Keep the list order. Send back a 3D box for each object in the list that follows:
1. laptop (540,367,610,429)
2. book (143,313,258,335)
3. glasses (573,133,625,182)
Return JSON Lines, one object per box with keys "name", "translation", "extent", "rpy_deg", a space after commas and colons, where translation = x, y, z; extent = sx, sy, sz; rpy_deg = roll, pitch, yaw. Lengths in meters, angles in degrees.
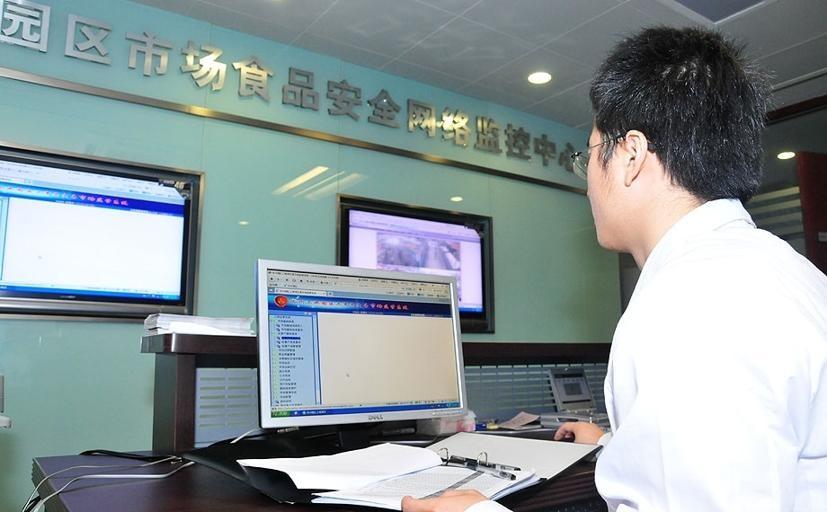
{"name": "laptop", "translation": [0.805, 0.688, 2.711], "extent": [0.292, 0.255, 0.239], "rpy_deg": [8, -9, -41]}
{"name": "book", "translation": [-0.713, 0.230, 1.847], "extent": [0.338, 0.075, 0.209], "rpy_deg": [1, -3, -21]}
{"name": "glasses", "translation": [0.472, -0.263, 1.473], "extent": [0.117, 0.036, 0.113], "rpy_deg": [-41, -8, 11]}
